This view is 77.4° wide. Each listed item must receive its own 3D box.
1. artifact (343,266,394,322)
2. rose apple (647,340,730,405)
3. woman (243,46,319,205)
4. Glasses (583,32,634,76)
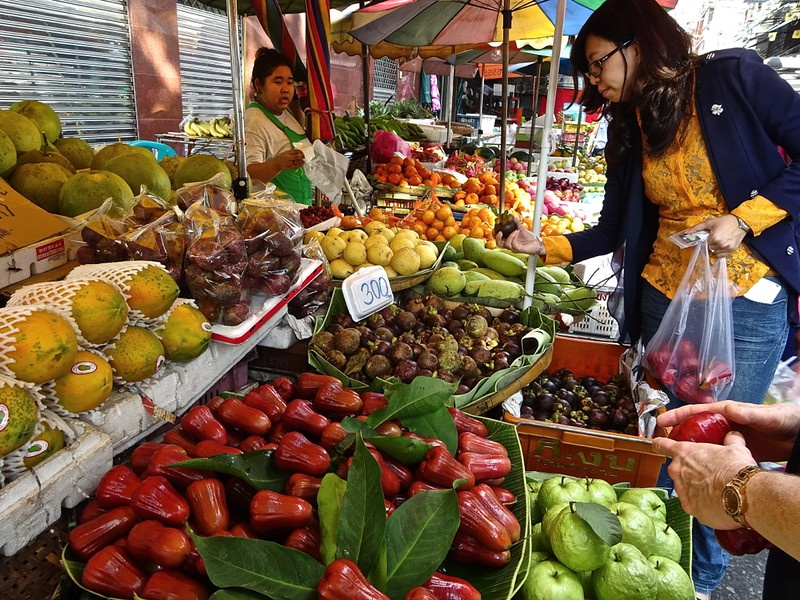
[{"bbox_3d":[-0.160,-0.035,2.498,0.116,0.240,0.260,15,22,34],"label":"artifact"},{"bbox_3d":[1.304,0.327,2.323,0.311,0.251,0.135,24,-1,14],"label":"rose apple"},{"bbox_3d":[-1.060,-1.446,4.401,0.443,0.678,0.930,13,42,21],"label":"woman"},{"bbox_3d":[0.929,-1.091,2.226,0.117,0.035,0.113,-31,1,1],"label":"Glasses"}]
